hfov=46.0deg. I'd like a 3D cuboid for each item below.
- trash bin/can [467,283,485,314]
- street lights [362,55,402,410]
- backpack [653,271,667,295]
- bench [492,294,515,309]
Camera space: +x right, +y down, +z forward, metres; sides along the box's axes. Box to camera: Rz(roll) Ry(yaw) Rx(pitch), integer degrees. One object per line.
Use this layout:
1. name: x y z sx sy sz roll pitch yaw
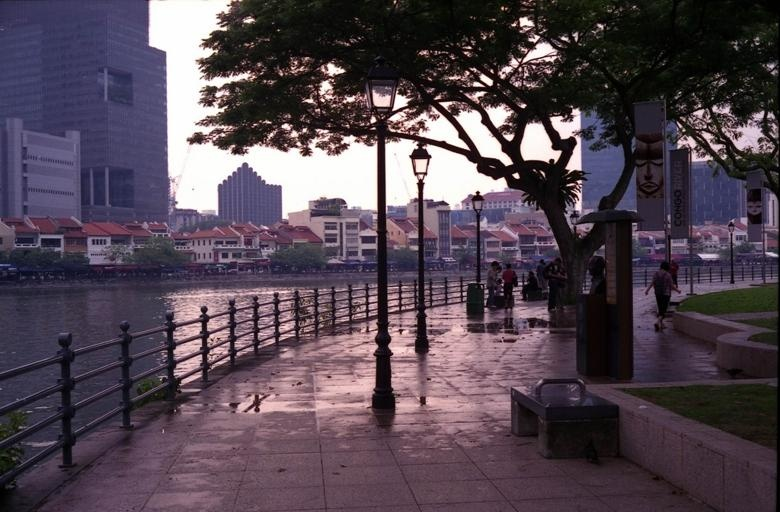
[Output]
1. trash bin/can: 3.358 1.704 36.326 0.658 0.848 1.051 -3 1 3
2. street lights: -0.135 -0.452 18.999 0.884 5.329 0.788 -3 2 -1
3. backpack: 8.341 0.833 28.186 0.503 0.781 0.536 -3 1 14
4. bench: 4.845 1.996 39.515 0.759 0.389 0.707 -2 -3 15
